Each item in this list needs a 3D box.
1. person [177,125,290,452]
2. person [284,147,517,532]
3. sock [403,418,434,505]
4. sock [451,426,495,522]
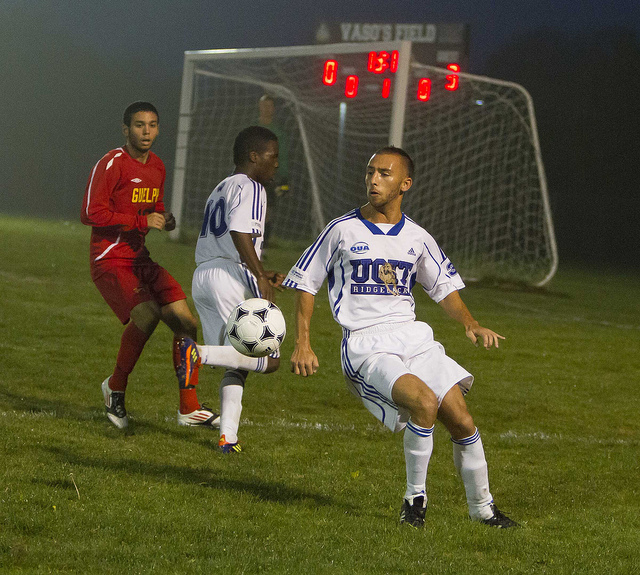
[{"bbox_3d":[-0.500,-0.007,5.500,0.591,1.818,0.789,2,9,-6],"label":"person"},{"bbox_3d":[0.356,0.208,4.796,1.075,1.774,0.767,2,9,-3],"label":"person"},{"bbox_3d":[0.471,0.842,4.659,0.137,0.424,0.102,3,9,3],"label":"sock"},{"bbox_3d":[0.767,0.946,4.670,0.158,0.503,0.137,-22,-12,12],"label":"sock"}]
